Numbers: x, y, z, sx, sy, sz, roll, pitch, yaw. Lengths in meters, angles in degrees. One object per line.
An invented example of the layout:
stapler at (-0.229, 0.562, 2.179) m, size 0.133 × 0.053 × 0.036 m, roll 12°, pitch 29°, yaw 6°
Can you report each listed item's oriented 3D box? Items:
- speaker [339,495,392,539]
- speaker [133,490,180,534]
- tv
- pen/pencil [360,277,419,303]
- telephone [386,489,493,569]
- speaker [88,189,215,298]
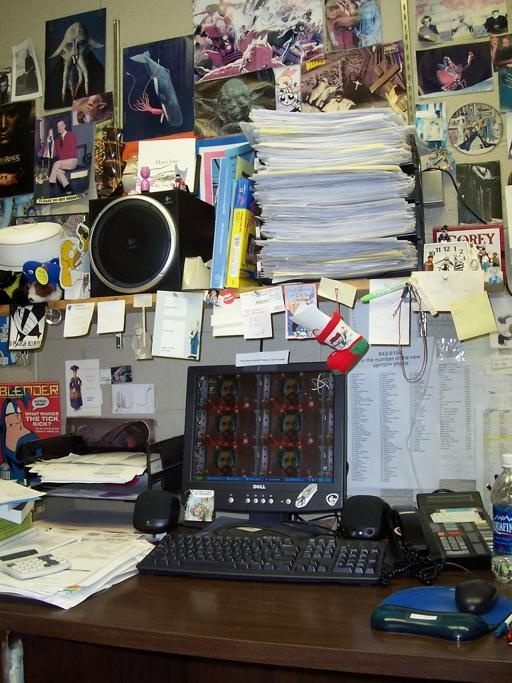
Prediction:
speaker at (0.200, 0.323, 1.053) m, size 0.088 × 0.043 × 0.125 m, roll 0°, pitch 0°, yaw 7°
speaker at (-0.191, 0.343, 1.160) m, size 0.096 × 0.089 × 0.086 m, roll -11°, pitch -17°, yaw 41°
tv at (0.027, 0.231, 1.208) m, size 0.324 × 0.310 × 0.124 m, roll -3°, pitch -20°, yaw 15°
pen/pencil at (0.276, -0.107, 1.176) m, size 0.089 × 0.021 × 0.021 m, roll -19°, pitch 42°, yaw -5°
telephone at (0.340, 0.316, 0.990) m, size 0.132 × 0.060 × 0.175 m, roll -3°, pitch 8°, yaw 7°
speaker at (-0.259, -0.235, 1.489) m, size 0.332 × 0.236 × 0.332 m, roll -1°, pitch 2°, yaw -4°
